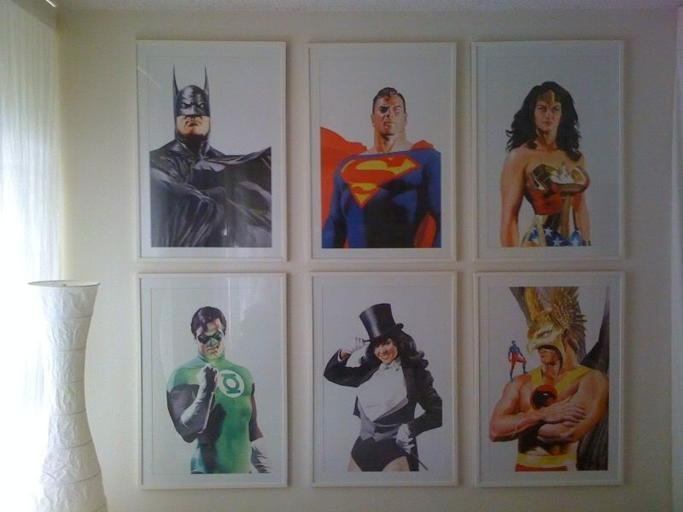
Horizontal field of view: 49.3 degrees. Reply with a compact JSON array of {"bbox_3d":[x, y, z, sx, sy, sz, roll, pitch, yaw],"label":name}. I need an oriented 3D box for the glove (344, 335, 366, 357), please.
[{"bbox_3d":[0.064,0.434,3.583,0.109,0.074,0.030,-29,-3,-2],"label":"glove"}]

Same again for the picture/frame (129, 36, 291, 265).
[{"bbox_3d":[-0.648,-0.544,3.563,0.973,1.459,0.051,0,4,3],"label":"picture/frame"}]
